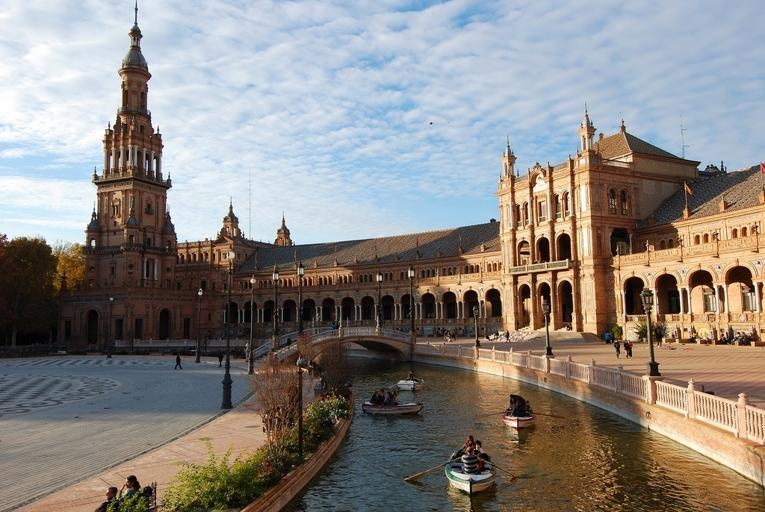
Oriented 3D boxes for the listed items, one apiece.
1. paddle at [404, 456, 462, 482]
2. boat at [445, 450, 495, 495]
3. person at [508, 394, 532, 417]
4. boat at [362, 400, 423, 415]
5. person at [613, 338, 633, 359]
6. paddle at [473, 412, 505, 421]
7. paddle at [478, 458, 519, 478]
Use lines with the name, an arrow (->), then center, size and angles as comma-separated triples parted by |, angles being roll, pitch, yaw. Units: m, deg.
paddle -> 2.414, 10.247, 31.927 | 2.900, 0.269, 0.116 | -20, -26, -6
boat -> 3.872, 9.625, 30.632 | 1.889, 0.821, 3.028 | -10, -41, 9
person -> 7.934, 8.723, 38.717 | 1.569, 0.667, 2.060 | 0, -6, 10
boat -> 0.499, 9.495, 41.314 | 3.368, 0.667, 1.216 | -2, -8, 11
person -> 20.528, 7.975, 57.194 | 1.467, 1.560, 0.695 | -21, -53, 34
paddle -> 6.382, 9.635, 40.009 | 2.114, 0.237, 0.131 | -11, -30, 11
paddle -> 5.402, 10.027, 31.440 | 2.166, 0.225, 0.217 | 27, -19, -21
